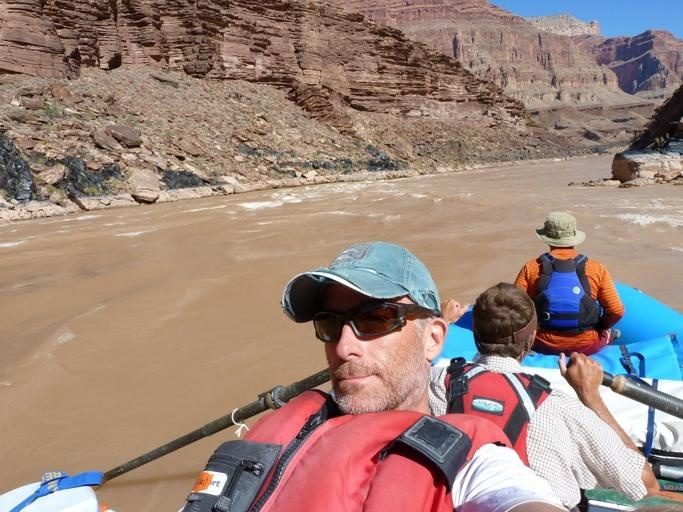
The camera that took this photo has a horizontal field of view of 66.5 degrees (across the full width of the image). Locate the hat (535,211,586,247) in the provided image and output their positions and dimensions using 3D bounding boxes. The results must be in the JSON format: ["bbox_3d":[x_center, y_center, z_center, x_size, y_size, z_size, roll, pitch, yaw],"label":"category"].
[{"bbox_3d":[2.252,-0.281,5.134,0.501,0.157,0.433,-15,16,-43],"label":"hat"}]

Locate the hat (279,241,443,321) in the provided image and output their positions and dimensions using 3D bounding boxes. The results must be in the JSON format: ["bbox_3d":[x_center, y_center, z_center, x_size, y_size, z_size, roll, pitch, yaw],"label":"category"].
[{"bbox_3d":[0.090,0.177,3.124,0.861,0.304,0.552,16,-25,-19],"label":"hat"}]
